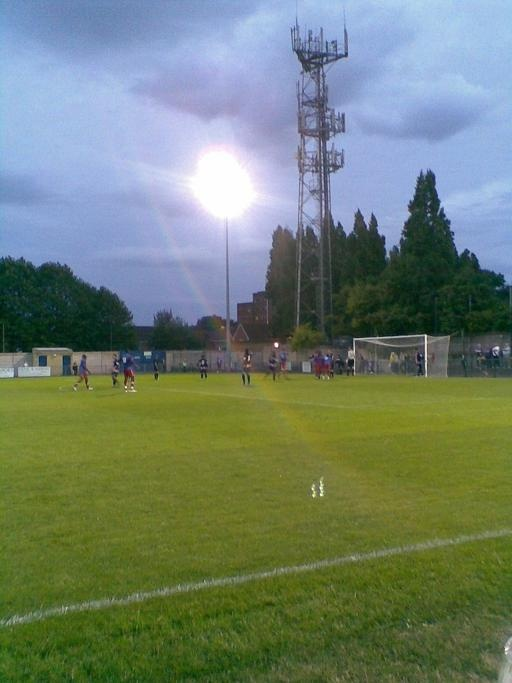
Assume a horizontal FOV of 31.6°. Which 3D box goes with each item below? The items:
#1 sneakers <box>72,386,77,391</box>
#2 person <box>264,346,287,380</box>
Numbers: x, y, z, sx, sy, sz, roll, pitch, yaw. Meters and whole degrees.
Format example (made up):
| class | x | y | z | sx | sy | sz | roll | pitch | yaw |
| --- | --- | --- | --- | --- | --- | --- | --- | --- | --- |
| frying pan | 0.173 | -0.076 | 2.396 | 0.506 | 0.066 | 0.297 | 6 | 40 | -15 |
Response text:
| class | x | y | z | sx | sy | sz | roll | pitch | yaw |
| --- | --- | --- | --- | --- | --- | --- | --- | --- | --- |
| sneakers | -7.048 | 1.832 | 35.105 | 0.131 | 0.064 | 0.129 | -18 | 27 | -36 |
| person | 1.119 | 1.235 | 49.666 | 0.893 | 3.116 | 0.747 | 3 | -10 | -22 |
